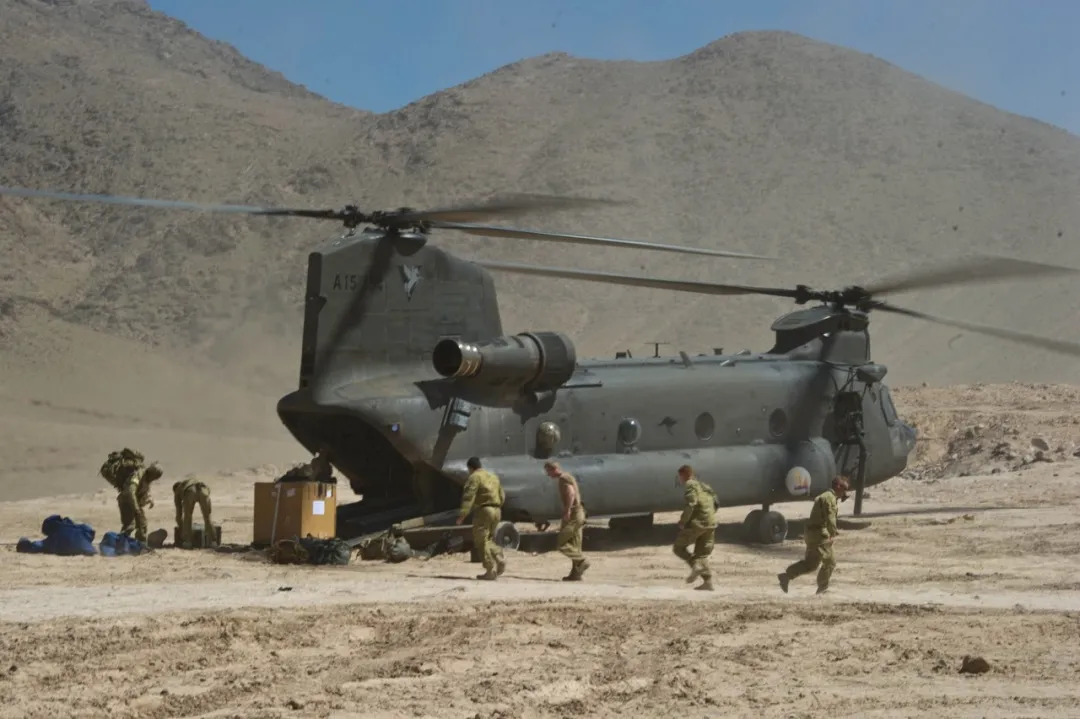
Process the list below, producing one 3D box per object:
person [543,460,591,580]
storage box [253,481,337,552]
[{"bbox_3d":[0.719,4.303,41.758,1.003,3.190,1.040,0,-2,-17],"label":"person"},{"bbox_3d":[-6.934,4.265,43.318,3.175,2.562,1.694,-2,-6,19],"label":"storage box"}]
